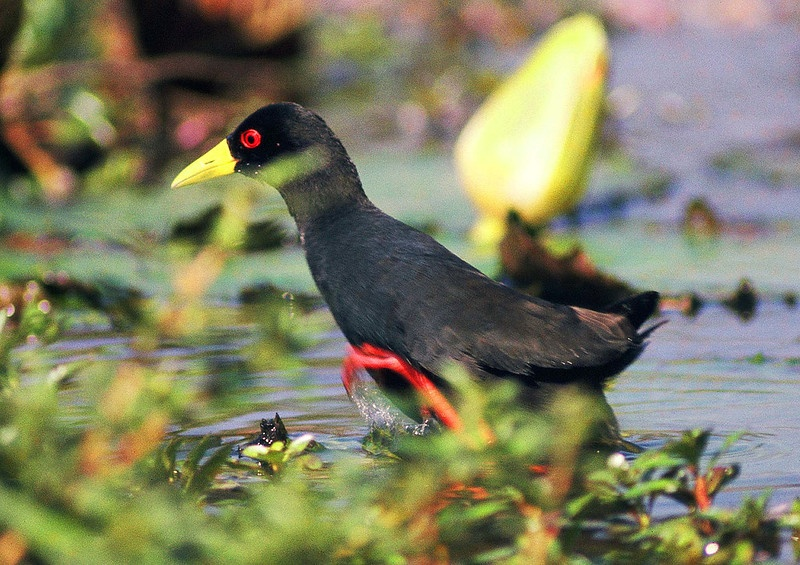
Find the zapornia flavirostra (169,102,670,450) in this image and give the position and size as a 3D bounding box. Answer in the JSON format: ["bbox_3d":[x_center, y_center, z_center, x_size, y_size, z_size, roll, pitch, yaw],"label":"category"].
[{"bbox_3d":[0.164,-0.019,3.728,1.868,1.158,0.713,6,5,-1],"label":"zapornia flavirostra"}]
